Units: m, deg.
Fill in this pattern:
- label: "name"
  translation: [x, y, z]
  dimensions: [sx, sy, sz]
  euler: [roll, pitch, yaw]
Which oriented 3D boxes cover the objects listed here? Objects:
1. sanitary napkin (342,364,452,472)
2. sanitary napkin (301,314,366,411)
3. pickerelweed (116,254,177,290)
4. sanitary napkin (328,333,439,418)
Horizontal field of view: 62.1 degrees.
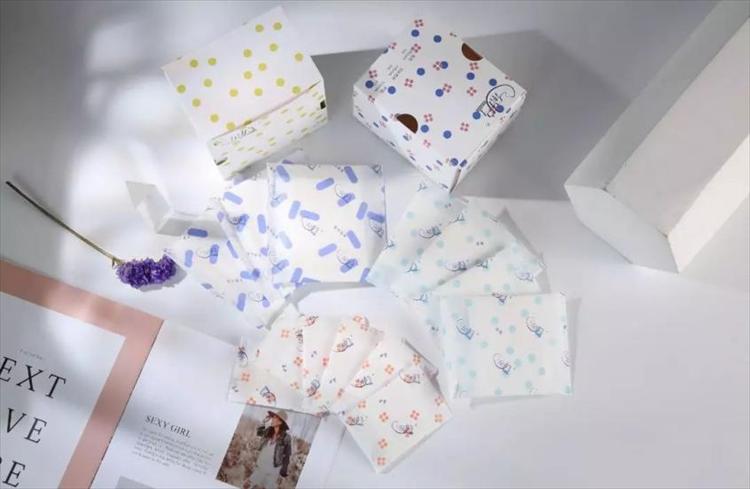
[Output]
- label: "sanitary napkin"
  translation: [0.051, 0.508, 1.814]
  dimensions: [0.371, 0.262, 0.286]
  euler: [-1, 48, -4]
- label: "sanitary napkin"
  translation: [-0.096, 0.347, 1.836]
  dimensions: [0.135, 0.281, 0.029]
  euler: [22, -8, -6]
- label: "pickerelweed"
  translation: [-0.672, 0.082, 1.827]
  dimensions: [0.146, 0.103, 0.068]
  euler: [11, -10, 0]
- label: "sanitary napkin"
  translation: [0.008, 0.357, 1.712]
  dimensions: [0.225, 0.234, 0.054]
  euler: [-17, -7, -7]
